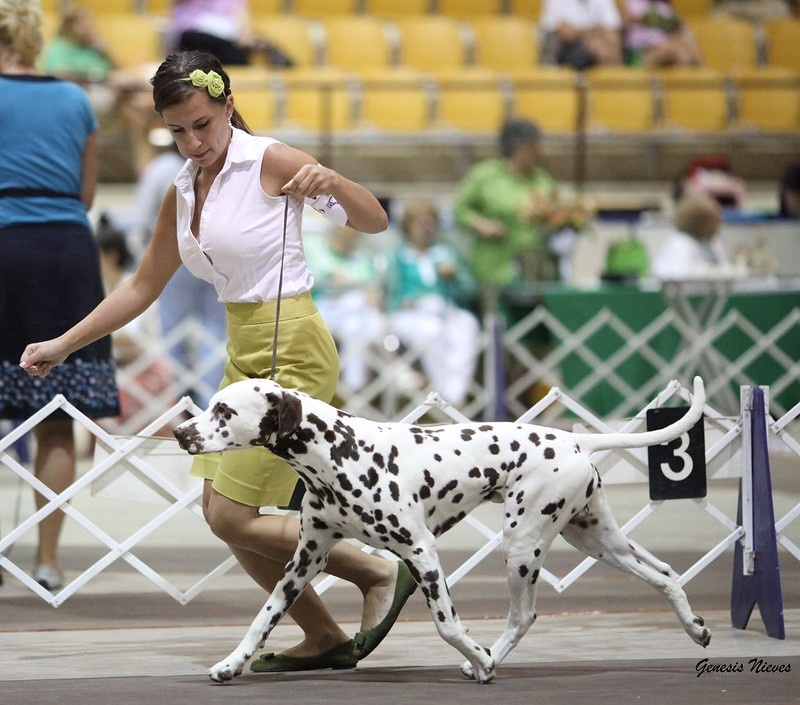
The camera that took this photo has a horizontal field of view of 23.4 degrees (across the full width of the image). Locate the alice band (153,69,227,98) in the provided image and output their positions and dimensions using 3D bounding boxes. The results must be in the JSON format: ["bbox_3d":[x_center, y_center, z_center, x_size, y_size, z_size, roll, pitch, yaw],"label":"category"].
[{"bbox_3d":[-0.747,-0.988,7.019,0.164,0.080,0.085,-4,-2,-9],"label":"alice band"}]

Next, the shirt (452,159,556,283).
[{"bbox_3d":[0.637,-0.801,11.268,0.652,0.638,0.417,-9,19,-21],"label":"shirt"}]

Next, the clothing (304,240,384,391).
[{"bbox_3d":[-0.315,-0.199,11.252,0.252,0.959,0.532,-5,-9,-14],"label":"clothing"}]

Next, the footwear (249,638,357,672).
[{"bbox_3d":[-0.360,1.139,7.230,0.417,0.122,0.137,3,-7,-8],"label":"footwear"}]

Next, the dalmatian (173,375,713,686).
[{"bbox_3d":[0.178,0.628,7.064,1.999,0.957,0.462,1,-4,-13],"label":"dalmatian"}]
